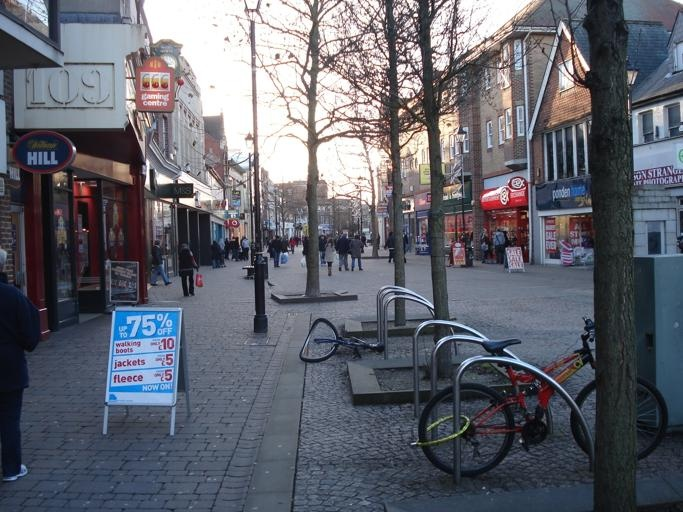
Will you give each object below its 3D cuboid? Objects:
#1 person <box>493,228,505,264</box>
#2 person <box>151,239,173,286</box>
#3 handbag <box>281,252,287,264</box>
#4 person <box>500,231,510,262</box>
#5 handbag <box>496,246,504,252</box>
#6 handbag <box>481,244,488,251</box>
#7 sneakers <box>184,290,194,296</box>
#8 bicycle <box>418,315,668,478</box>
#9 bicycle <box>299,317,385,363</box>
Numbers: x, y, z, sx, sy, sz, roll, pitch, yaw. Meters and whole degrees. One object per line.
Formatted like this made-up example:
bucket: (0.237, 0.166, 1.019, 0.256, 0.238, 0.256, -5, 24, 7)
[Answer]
person: (7.586, -0.423, 32.873, 0.569, 1.210, 1.399, -3, 2, 13)
person: (-6.652, 0.308, 25.095, 0.643, 1.567, 3.041, -4, 1, -15)
handbag: (-3.389, 0.125, 40.266, 0.575, 0.613, 1.025, -3, 2, -3)
person: (7.375, -0.391, 31.092, 0.417, 1.463, 1.343, -1, 3, 19)
handbag: (7.520, -0.359, 32.645, 0.249, 0.200, 0.559, 11, 6, 31)
handbag: (7.465, -0.464, 35.857, 0.285, 0.587, 0.297, -1, 2, 11)
sneakers: (-4.443, 1.100, 20.269, 0.206, 0.146, 0.439, -4, 2, 24)
bicycle: (1.827, 1.146, 6.606, 2.304, 1.658, 1.240, -2, 2, 1)
bicycle: (0.005, 1.360, 10.496, 1.152, 0.767, 0.621, 15, -11, 2)
